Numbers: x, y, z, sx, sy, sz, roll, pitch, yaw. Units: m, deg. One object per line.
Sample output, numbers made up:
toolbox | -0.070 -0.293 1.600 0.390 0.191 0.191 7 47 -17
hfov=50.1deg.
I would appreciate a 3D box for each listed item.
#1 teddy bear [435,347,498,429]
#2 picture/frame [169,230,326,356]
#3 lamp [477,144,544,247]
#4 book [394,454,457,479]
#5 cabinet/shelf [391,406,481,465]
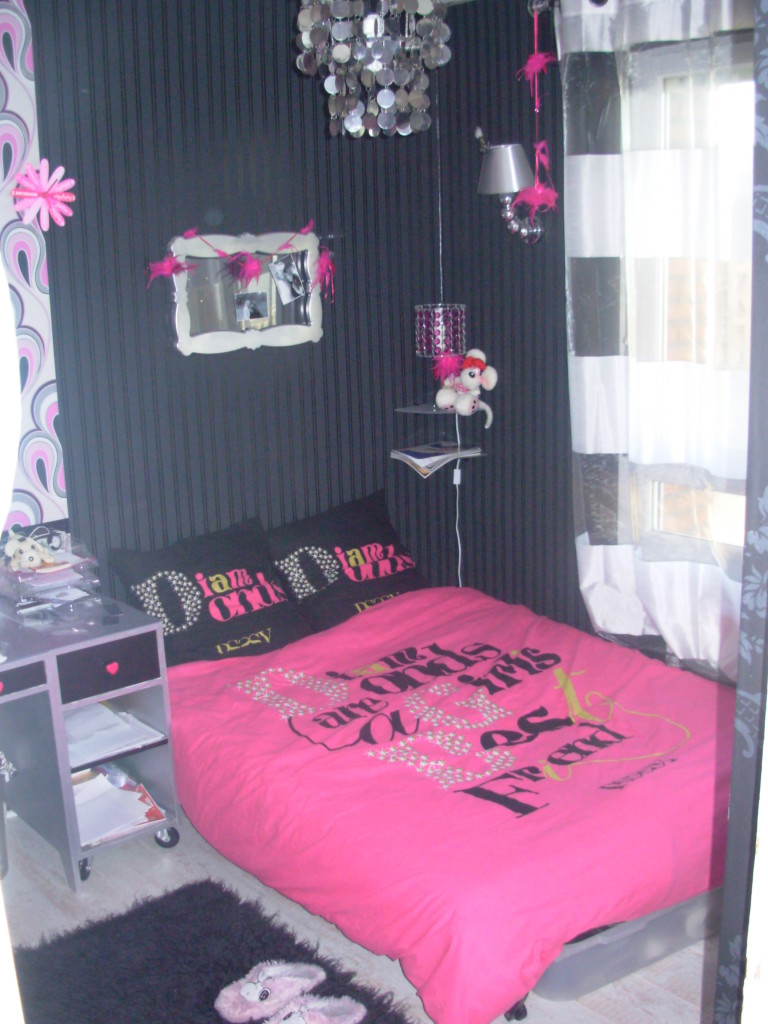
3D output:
teddy bear | 0.375 -0.560 3.773 0.288 0.367 0.367 -2 12 4
picture/frame | -0.560 -0.898 3.371 0.621 0.450 0.027 -1 8 10
lamp | 0.507 -1.329 3.275 0.246 0.435 0.693 -1 12 8
book | 0.216 -0.205 3.800 0.157 0.046 0.161 17 26 37
cabinet/shelf | 0.249 -0.325 3.895 0.477 0.297 0.271 -13 18 -38
